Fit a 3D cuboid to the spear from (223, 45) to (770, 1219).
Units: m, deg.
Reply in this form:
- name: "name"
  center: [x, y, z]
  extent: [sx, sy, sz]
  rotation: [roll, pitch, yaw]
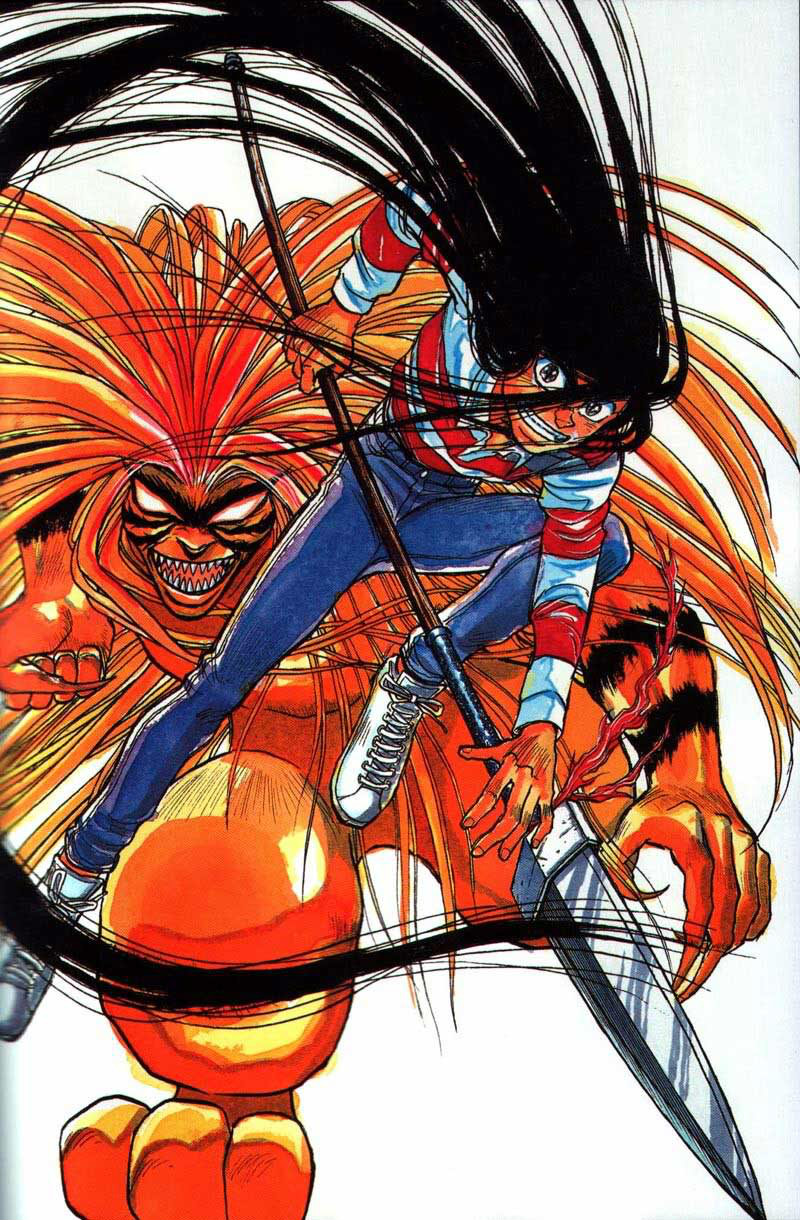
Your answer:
- name: "spear"
  center: [0.098, 0.064, 2.055]
  extent: [0.135, 1.761, 0.064]
  rotation: [-27, -4, -27]
